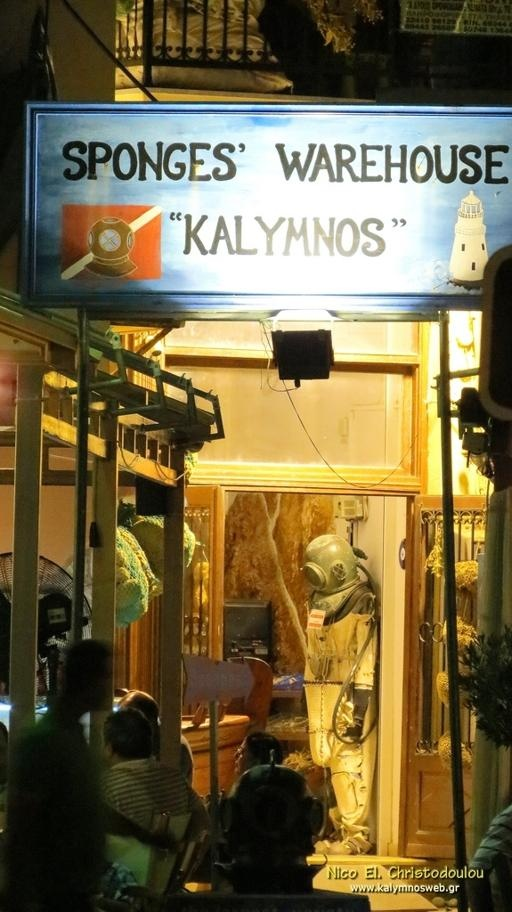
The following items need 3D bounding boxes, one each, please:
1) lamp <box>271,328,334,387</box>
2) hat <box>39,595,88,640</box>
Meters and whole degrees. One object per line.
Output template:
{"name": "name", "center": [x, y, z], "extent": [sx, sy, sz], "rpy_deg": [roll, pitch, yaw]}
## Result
{"name": "lamp", "center": [0.196, -0.423, 3.931], "extent": [0.250, 0.265, 0.249], "rpy_deg": [3, -3, 3]}
{"name": "hat", "center": [-1.092, 0.882, 5.014], "extent": [0.166, 0.259, 0.350], "rpy_deg": [4, -3, -14]}
